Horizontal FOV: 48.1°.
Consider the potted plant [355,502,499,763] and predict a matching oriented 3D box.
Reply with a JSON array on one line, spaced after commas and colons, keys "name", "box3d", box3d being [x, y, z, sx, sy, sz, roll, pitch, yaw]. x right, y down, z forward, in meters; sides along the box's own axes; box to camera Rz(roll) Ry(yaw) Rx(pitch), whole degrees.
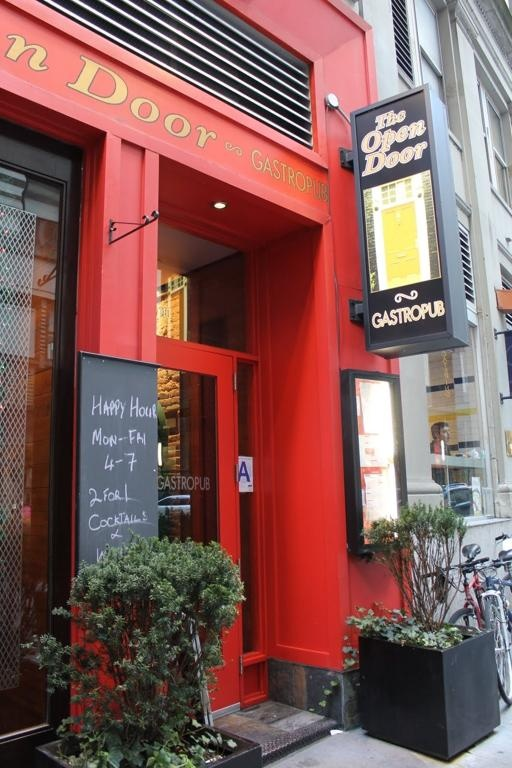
[{"name": "potted plant", "box3d": [1.046, 1.520, 3.730, 0.727, 1.442, 0.806, -10, -10, 43]}]
